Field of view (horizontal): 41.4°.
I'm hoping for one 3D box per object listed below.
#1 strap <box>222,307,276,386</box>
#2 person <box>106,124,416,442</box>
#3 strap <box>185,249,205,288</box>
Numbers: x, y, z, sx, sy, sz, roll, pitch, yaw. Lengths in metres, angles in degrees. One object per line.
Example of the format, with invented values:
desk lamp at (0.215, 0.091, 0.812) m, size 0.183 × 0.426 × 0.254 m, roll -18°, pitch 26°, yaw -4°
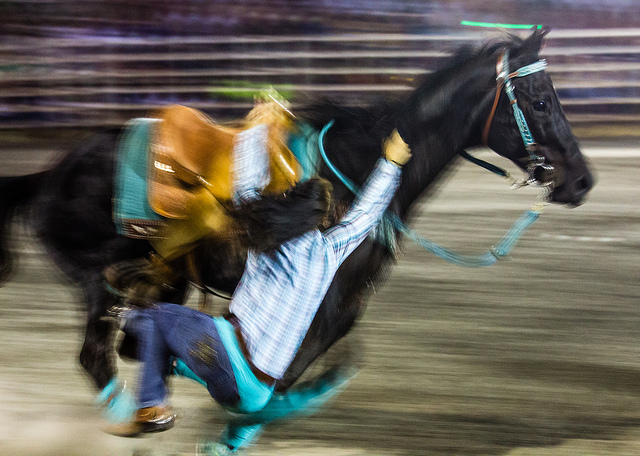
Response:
strap at (-0.279, 0.447, 3.157) m, size 0.293 × 0.235 × 0.062 m, roll 29°, pitch 37°, yaw 23°
person at (-0.317, 0.207, 3.486) m, size 0.875 × 1.472 × 0.484 m, roll 32°, pitch 4°, yaw -10°
strap at (-0.509, 0.159, 3.387) m, size 0.040 × 0.125 × 0.123 m, roll -24°, pitch 24°, yaw 12°
